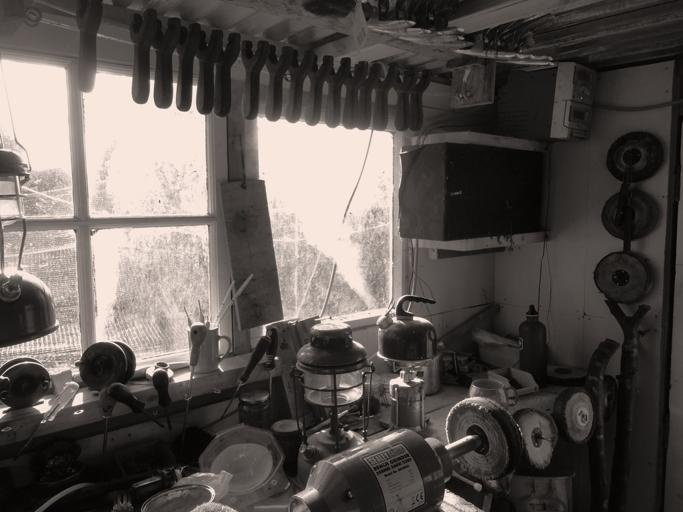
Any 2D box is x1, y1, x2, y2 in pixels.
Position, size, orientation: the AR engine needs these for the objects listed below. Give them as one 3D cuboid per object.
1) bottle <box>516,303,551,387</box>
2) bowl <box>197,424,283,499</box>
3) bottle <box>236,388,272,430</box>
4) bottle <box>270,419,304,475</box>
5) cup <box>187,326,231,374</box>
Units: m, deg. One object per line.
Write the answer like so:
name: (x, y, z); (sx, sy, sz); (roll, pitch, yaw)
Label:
bottle: (1.220, 0.560, 3.976); (0.175, 0.496, 0.200); (-1, 7, 9)
bowl: (-0.485, 1.011, 3.082); (0.391, 0.251, 0.317); (-6, 9, -26)
bottle: (-0.461, 0.810, 3.332); (0.193, 0.214, 0.119); (-2, 2, -23)
bottle: (-0.266, 0.950, 3.194); (0.183, 0.241, 0.199); (0, 8, 0)
cup: (-0.716, 0.478, 3.444); (0.274, 0.278, 0.228); (-6, 8, -27)
